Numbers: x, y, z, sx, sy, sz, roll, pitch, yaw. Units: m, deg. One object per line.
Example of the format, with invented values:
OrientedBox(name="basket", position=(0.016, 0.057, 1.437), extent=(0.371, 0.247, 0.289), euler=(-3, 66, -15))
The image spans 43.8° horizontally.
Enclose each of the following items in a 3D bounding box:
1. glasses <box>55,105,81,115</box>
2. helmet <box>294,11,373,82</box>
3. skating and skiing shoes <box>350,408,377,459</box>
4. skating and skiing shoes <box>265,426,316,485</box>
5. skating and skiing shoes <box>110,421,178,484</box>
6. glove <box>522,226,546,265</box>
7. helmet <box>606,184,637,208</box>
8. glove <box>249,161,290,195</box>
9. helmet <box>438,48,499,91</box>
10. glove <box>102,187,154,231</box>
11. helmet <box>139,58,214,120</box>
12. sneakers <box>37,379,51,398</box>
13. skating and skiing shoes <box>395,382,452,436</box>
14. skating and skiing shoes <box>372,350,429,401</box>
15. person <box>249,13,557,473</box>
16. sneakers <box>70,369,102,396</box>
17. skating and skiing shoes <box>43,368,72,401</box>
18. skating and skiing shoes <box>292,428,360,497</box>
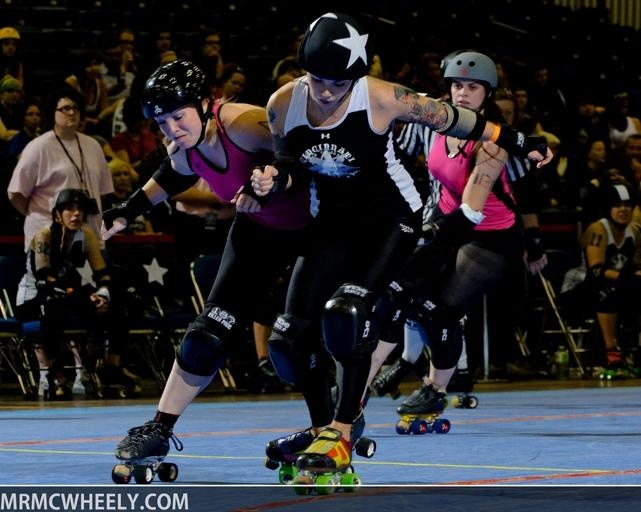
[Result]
OrientedBox(name="glasses", position=(-2.544, -1.474, 7.993), extent=(0.235, 0.142, 0.121), euler=(3, 0, -20))
OrientedBox(name="helmet", position=(0.056, -0.887, 3.349), extent=(0.253, 0.282, 0.337), euler=(12, 1, 1))
OrientedBox(name="skating and skiing shoes", position=(0.214, 0.945, 4.042), extent=(0.077, 0.090, 0.269), euler=(29, -25, 16))
OrientedBox(name="skating and skiing shoes", position=(-0.161, 0.891, 3.556), extent=(0.135, 0.232, 0.099), euler=(1, -12, 33))
OrientedBox(name="skating and skiing shoes", position=(-0.763, 0.860, 3.453), extent=(0.274, 0.263, 0.294), euler=(3, 0, -16))
OrientedBox(name="glove", position=(1.781, -0.140, 6.650), extent=(0.218, 0.379, 0.165), euler=(1, -29, 8))
OrientedBox(name="helmet", position=(3.861, -0.781, 10.117), extent=(0.293, 0.334, 0.343), euler=(-4, -3, 2))
OrientedBox(name="glove", position=(-0.206, -0.319, 3.400), extent=(0.182, 0.136, 0.093), euler=(3, 0, -19))
OrientedBox(name="helmet", position=(1.076, -1.344, 5.730), extent=(0.275, 0.251, 0.336), euler=(16, -9, 36))
OrientedBox(name="glove", position=(-1.024, -0.251, 4.210), extent=(0.110, 0.259, 0.179), euler=(42, -18, 37))
OrientedBox(name="helmet", position=(-0.683, -0.768, 3.759), extent=(0.228, 0.256, 0.309), euler=(-4, 16, 39))
OrientedBox(name="sneakers", position=(-2.760, 1.326, 7.938), extent=(0.113, 0.194, 0.195), euler=(4, -9, -30))
OrientedBox(name="skating and skiing shoes", position=(0.693, 1.047, 5.322), extent=(0.220, 0.257, 0.358), euler=(-5, -8, 35))
OrientedBox(name="skating and skiing shoes", position=(0.603, 0.915, 6.207), extent=(0.474, 0.201, 0.171), euler=(-19, 21, -1))
OrientedBox(name="person", position=(0.181, -0.105, 3.564), extent=(1.022, 1.965, 0.514), euler=(3, 0, -39))
OrientedBox(name="sneakers", position=(-2.407, 1.312, 8.201), extent=(0.299, 0.300, 0.161), euler=(2, 3, 12))
OrientedBox(name="skating and skiing shoes", position=(-2.596, 1.254, 7.840), extent=(0.257, 0.314, 0.247), euler=(3, 0, -20))
OrientedBox(name="skating and skiing shoes", position=(0.026, 0.827, 3.194), extent=(0.128, 0.210, 0.376), euler=(-2, -9, 16))
